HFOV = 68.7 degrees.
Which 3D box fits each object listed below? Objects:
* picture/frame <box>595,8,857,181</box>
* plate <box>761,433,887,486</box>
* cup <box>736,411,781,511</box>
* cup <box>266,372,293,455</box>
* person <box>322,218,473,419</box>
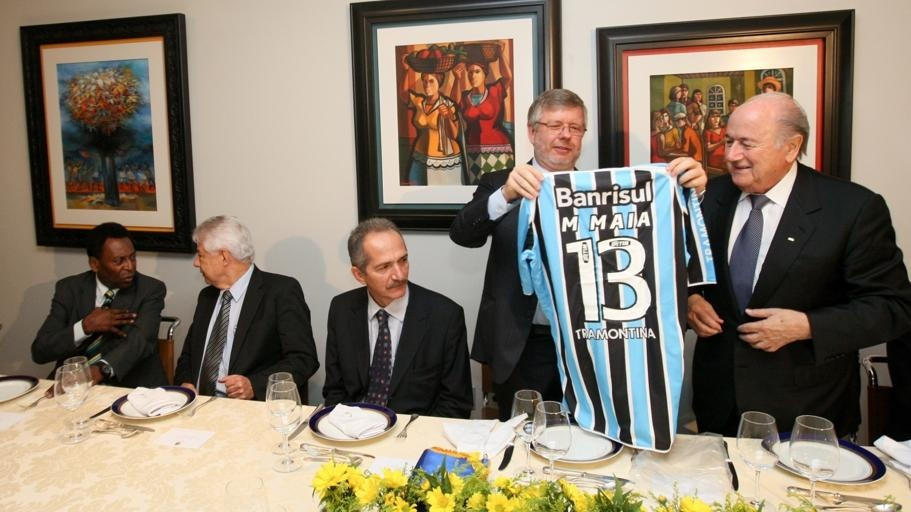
[{"bbox_3d":[1.717,-1.019,4.073,1.219,1.194,0.047,-1,5,12],"label":"picture/frame"},{"bbox_3d":[1.781,0.995,3.116,0.337,0.035,0.330,-5,10,-10],"label":"plate"},{"bbox_3d":[1.353,0.912,3.003,0.164,0.384,0.332,5,13,27],"label":"cup"},{"bbox_3d":[-0.850,0.783,3.305,0.135,0.396,0.222,-5,12,-15],"label":"cup"},{"bbox_3d":[-0.389,0.608,3.978,0.919,1.524,0.850,0,-1,13],"label":"person"}]
